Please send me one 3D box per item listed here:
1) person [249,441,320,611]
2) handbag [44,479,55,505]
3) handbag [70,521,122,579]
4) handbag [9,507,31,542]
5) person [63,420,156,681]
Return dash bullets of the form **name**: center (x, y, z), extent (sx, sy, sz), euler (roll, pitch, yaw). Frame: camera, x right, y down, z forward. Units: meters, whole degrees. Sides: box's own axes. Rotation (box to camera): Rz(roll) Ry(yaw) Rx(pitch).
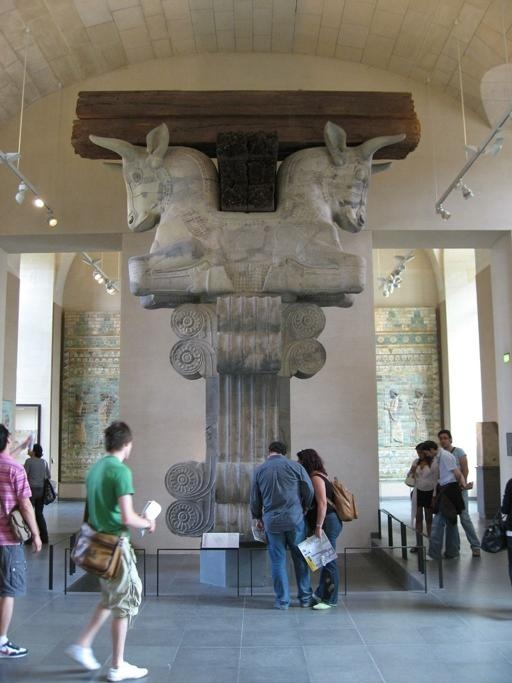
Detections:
- **person**: center (0.206, 1.417, 5.392), extent (0.472, 1.274, 0.334), euler (-2, -7, -1)
- **handbag**: center (-2.804, 2.026, 9.488), extent (0.157, 0.333, 0.273), euler (0, -6, -17)
- **handbag**: center (-0.903, 1.157, 3.861), extent (0.302, 0.282, 0.139), euler (-4, -7, 22)
- **handbag**: center (-1.460, 1.148, 4.372), extent (0.106, 0.233, 0.141), euler (-5, -7, 25)
- **person**: center (-0.810, 1.183, 3.960), extent (0.477, 1.449, 0.474), euler (0, -7, -14)
